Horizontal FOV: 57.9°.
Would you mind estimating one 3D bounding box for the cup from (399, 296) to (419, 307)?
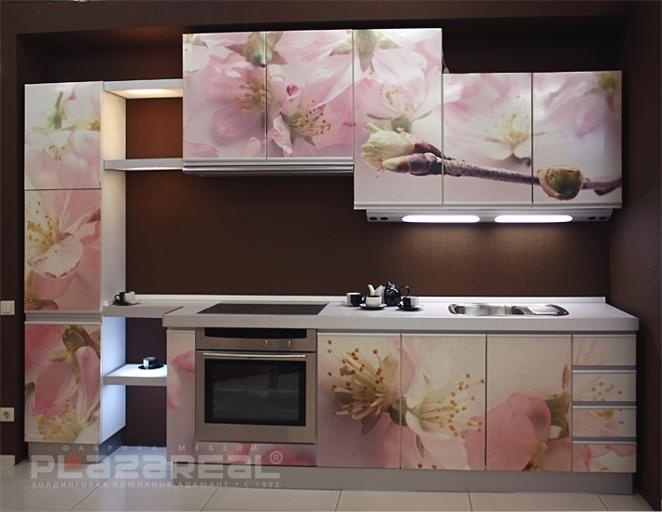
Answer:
[{"bbox_3d":[0.581,0.336,4.436,0.102,0.077,0.080,0,0,3],"label":"cup"}]

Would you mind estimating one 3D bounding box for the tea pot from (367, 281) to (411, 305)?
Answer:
[{"bbox_3d":[0.431,0.276,4.558,0.250,0.142,0.180,1,-4,12],"label":"tea pot"}]

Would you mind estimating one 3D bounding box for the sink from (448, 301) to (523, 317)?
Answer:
[{"bbox_3d":[1.170,0.399,4.543,0.564,0.088,0.234,-2,-4,5],"label":"sink"}]

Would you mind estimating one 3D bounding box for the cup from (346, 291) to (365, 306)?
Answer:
[{"bbox_3d":[0.179,0.330,4.535,0.080,0.077,0.119,-4,-7,25],"label":"cup"}]

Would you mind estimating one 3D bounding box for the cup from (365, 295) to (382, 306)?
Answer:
[{"bbox_3d":[0.312,0.329,4.384,0.078,0.056,0.075,0,-4,0],"label":"cup"}]

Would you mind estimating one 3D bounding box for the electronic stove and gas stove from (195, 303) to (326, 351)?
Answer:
[{"bbox_3d":[-0.503,0.520,4.393,0.892,0.331,0.451,-2,-4,6],"label":"electronic stove and gas stove"}]

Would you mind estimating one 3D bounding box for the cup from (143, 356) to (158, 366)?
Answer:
[{"bbox_3d":[-1.427,0.845,4.742,0.113,0.085,0.101,0,-5,-18],"label":"cup"}]

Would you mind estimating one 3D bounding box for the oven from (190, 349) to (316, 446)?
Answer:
[{"bbox_3d":[-0.502,0.966,4.445,0.893,0.651,0.602,0,1,3],"label":"oven"}]

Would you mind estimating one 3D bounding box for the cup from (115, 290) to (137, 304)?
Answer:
[{"bbox_3d":[-1.597,0.316,4.698,0.091,0.082,0.125,2,6,1],"label":"cup"}]

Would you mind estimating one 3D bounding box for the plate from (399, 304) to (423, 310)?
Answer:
[{"bbox_3d":[0.590,0.379,4.394,0.186,0.057,0.176,0,-4,-11],"label":"plate"}]
